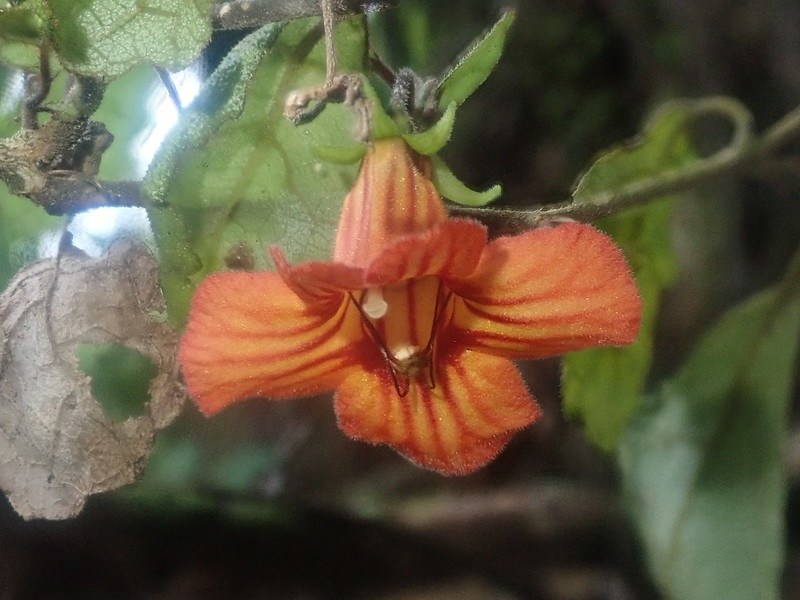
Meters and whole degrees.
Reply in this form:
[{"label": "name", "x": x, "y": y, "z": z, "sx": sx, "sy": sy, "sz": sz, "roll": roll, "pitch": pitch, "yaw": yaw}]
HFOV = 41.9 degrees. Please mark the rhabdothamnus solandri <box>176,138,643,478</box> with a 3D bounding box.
[{"label": "rhabdothamnus solandri", "x": -0.033, "y": 0.043, "z": 1.497, "sx": 0.661, "sy": 0.401, "sz": 0.632, "roll": -1, "pitch": 1, "yaw": -15}]
